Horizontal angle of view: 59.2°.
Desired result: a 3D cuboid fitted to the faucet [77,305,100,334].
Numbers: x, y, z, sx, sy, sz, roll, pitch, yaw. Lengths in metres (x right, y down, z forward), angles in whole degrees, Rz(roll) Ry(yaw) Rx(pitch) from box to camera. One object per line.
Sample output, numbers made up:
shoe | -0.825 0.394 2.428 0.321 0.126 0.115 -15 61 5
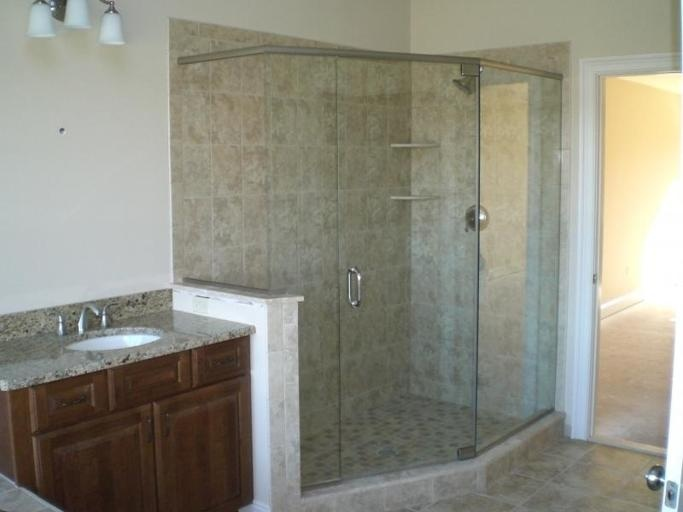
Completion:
faucet | -1.281 0.309 3.052 0.118 0.128 0.198 -7 16 -22
